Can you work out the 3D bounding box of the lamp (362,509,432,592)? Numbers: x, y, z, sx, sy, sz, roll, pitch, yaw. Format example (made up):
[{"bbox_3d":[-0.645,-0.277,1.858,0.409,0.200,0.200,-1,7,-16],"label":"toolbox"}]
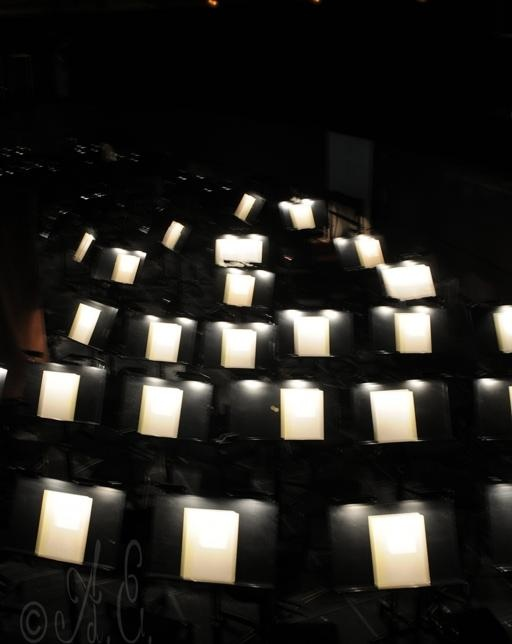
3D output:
[{"bbox_3d":[0.905,1.442,4.211,0.384,0.466,0.141,1,-25,9],"label":"lamp"}]

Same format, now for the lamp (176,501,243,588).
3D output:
[{"bbox_3d":[-0.295,1.397,4.181,0.357,0.426,0.089,1,-24,8],"label":"lamp"}]

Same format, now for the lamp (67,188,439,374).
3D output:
[{"bbox_3d":[0.480,-0.324,5.846,1.884,2.024,0.498,5,-48,9],"label":"lamp"}]

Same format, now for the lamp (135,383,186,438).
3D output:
[{"bbox_3d":[-0.653,0.601,4.561,0.317,0.329,0.159,5,0,-2],"label":"lamp"}]

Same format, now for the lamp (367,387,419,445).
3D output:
[{"bbox_3d":[0.976,0.690,4.713,0.408,0.363,0.323,0,-19,-15],"label":"lamp"}]
